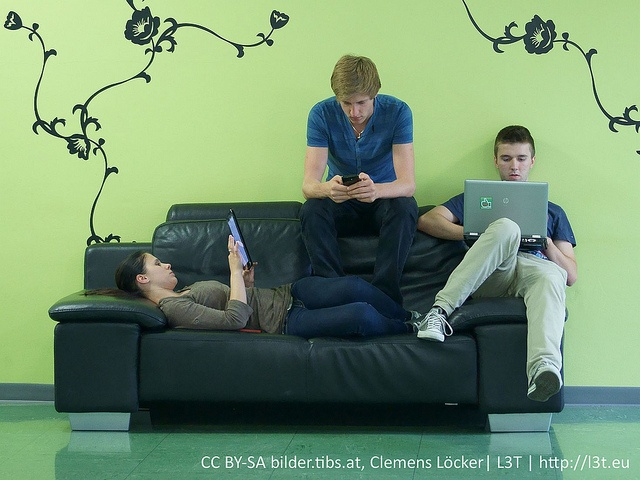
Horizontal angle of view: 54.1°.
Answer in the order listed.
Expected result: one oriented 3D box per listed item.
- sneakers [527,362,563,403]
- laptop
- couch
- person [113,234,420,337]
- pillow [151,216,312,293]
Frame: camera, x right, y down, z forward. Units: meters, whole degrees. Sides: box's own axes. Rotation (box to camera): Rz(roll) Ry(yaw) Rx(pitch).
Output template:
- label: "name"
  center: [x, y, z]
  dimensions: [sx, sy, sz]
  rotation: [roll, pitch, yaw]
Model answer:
- label: "sneakers"
  center: [0.909, 0.581, 2.550]
  dimensions: [0.094, 0.207, 0.097]
  rotation: [9, 43, 8]
- label: "laptop"
  center: [0.914, -0.198, 3.066]
  dimensions: [0.415, 0.321, 0.342]
  rotation: [8, 32, 23]
- label: "couch"
  center: [-0.162, 0.368, 2.970]
  dimensions: [2.159, 0.887, 0.669]
  rotation: [0, 5, 2]
- label: "person"
  center: [-0.259, 0.244, 3.029]
  dimensions: [1.419, 0.565, 0.543]
  rotation: [-4, 0, -1]
- label: "pillow"
  center: [-0.555, -0.005, 3.370]
  dimensions: [0.694, 0.467, 0.396]
  rotation: [-2, 19, -9]
